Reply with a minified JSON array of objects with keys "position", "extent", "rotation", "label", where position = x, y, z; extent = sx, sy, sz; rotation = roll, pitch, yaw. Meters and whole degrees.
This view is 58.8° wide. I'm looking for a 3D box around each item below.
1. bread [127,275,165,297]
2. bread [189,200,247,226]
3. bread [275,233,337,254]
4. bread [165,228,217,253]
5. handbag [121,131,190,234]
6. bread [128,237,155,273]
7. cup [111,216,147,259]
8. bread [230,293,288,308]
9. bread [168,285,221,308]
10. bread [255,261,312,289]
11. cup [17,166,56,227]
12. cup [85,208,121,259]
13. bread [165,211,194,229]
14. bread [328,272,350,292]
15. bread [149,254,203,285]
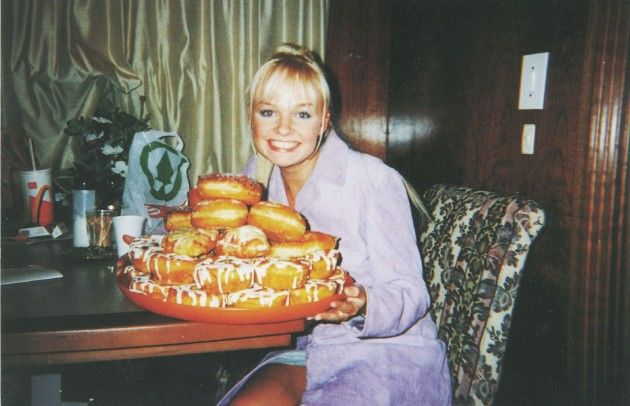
[{"position":[-0.473,0.230,1.585],"extent":[0.063,0.019,0.063],"rotation":[16,-3,12],"label":"bread"},{"position":[-0.284,0.015,1.661],"extent":[0.100,0.051,0.096],"rotation":[7,11,44],"label":"bread"},{"position":[-0.030,0.108,1.655],"extent":[0.140,0.037,0.073],"rotation":[-3,0,-17],"label":"bread"},{"position":[-0.363,0.112,1.626],"extent":[0.088,0.031,0.095],"rotation":[-3,12,-2],"label":"bread"},{"position":[-0.622,-0.097,2.145],"extent":[0.280,0.425,0.105],"rotation":[4,-1,-21],"label":"handbag"},{"position":[-0.513,0.143,1.649],"extent":[0.078,0.032,0.096],"rotation":[7,32,-16],"label":"bread"},{"position":[-0.631,0.122,2.005],"extent":[0.144,0.136,0.121],"rotation":[3,4,6],"label":"cup"},{"position":[-0.155,0.268,1.555],"extent":[0.159,0.044,0.019],"rotation":[2,2,-5],"label":"bread"},{"position":[-0.333,0.259,1.557],"extent":[0.156,0.049,0.048],"rotation":[3,2,17],"label":"bread"},{"position":[-0.092,0.205,1.657],"extent":[0.192,0.091,0.195],"rotation":[2,2,-7],"label":"bread"},{"position":[-1.108,-0.021,2.226],"extent":[0.143,0.230,0.153],"rotation":[0,12,0],"label":"cup"},{"position":[-0.786,0.099,2.030],"extent":[0.109,0.170,0.107],"rotation":[2,4,0],"label":"cup"},{"position":[-0.421,0.051,1.716],"extent":[0.071,0.037,0.053],"rotation":[-3,2,32],"label":"bread"},{"position":[0.068,0.227,1.663],"extent":[0.053,0.018,0.051],"rotation":[-4,21,-9],"label":"bread"},{"position":[-0.412,0.208,1.674],"extent":[0.163,0.100,0.192],"rotation":[8,-7,-2],"label":"bread"}]
